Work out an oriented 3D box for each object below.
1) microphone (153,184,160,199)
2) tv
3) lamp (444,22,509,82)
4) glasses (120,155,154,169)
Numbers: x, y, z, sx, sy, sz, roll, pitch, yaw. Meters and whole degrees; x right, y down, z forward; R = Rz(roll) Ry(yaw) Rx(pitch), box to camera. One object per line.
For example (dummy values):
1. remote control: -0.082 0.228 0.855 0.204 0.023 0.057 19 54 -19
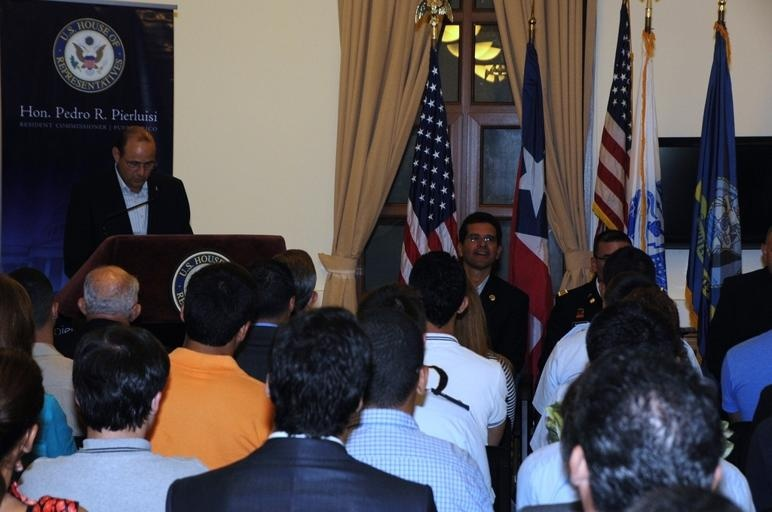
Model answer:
1. microphone: -1.443 -0.402 4.319 0.055 0.088 0.024 7 -12 19
2. tv: 2.483 -0.496 5.104 0.756 0.850 0.082 0 1 12
3. lamp: 0.812 -1.636 5.579 0.427 0.494 0.115 -9 21 16
4. glasses: -1.483 -0.555 4.127 0.168 0.063 0.082 -1 5 -25
